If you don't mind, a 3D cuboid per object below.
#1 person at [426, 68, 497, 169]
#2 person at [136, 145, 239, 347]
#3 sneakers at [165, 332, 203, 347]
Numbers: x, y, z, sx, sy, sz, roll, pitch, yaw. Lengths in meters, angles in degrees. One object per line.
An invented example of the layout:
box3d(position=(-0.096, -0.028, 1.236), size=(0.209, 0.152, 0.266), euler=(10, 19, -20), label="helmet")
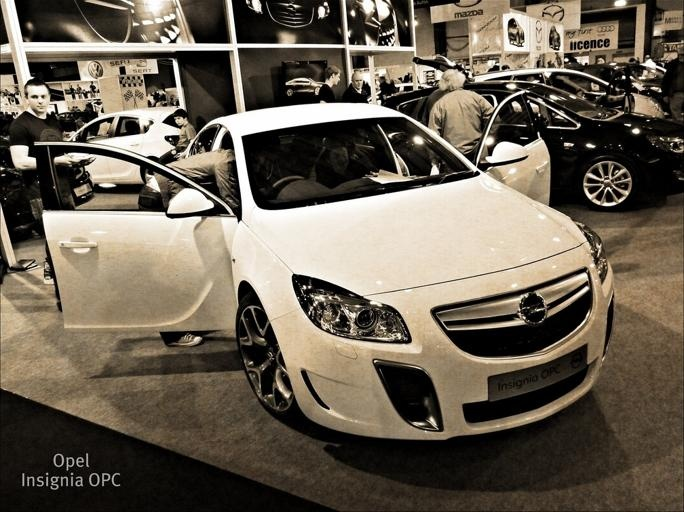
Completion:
box3d(position=(1.449, -1.463, 6.230), size=(0.845, 1.673, 0.423), euler=(4, 52, 22), label="person")
box3d(position=(-1.112, -0.132, 3.858), size=(0.797, 1.542, 0.710), euler=(2, -8, -25), label="person")
box3d(position=(-1.284, 0.679, 4.174), size=(0.325, 0.127, 0.153), euler=(-4, -21, -3), label="sneakers")
